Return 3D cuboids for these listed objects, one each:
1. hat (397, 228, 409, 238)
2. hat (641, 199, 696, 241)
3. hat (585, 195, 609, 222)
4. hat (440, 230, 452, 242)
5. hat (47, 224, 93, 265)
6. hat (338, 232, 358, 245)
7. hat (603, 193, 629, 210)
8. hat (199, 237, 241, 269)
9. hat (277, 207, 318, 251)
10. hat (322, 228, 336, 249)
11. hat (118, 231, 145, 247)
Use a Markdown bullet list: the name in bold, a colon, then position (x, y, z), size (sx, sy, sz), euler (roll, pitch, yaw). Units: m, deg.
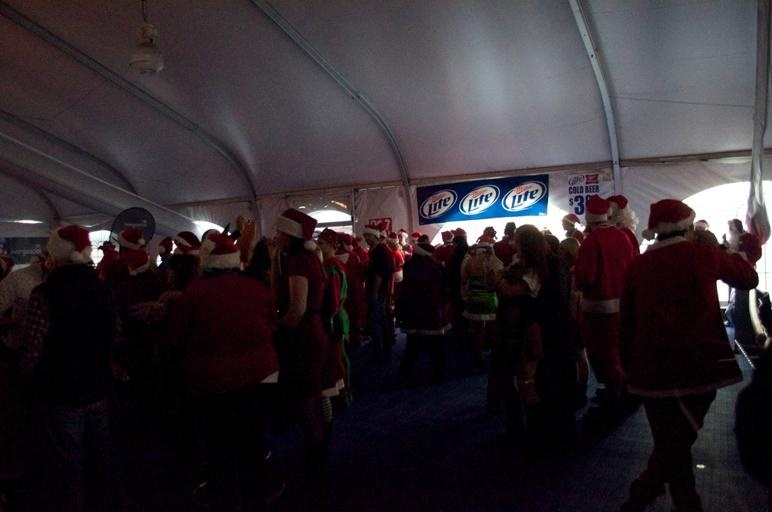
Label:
- **hat**: position (0.404, -0.551, 11.836), size (0.235, 0.234, 0.198), euler (-1, 3, -6)
- **hat**: position (2.466, -0.383, 4.405), size (0.387, 0.323, 0.311), euler (-20, 20, 15)
- **hat**: position (2.412, -0.539, 5.650), size (0.228, 0.174, 0.329), euler (2, 7, 14)
- **hat**: position (1.143, -0.376, 9.509), size (0.210, 0.194, 0.196), euler (-1, -5, -1)
- **hat**: position (-2.749, -0.094, 4.299), size (0.294, 0.330, 0.390), euler (-1, 3, -37)
- **hat**: position (-0.679, -0.308, 8.735), size (0.236, 0.094, 0.238), euler (6, -9, -6)
- **hat**: position (2.754, -0.647, 5.886), size (0.279, 0.146, 0.406), euler (6, 14, 36)
- **hat**: position (-1.384, -0.020, 4.216), size (0.311, 0.267, 0.231), euler (5, -8, -42)
- **hat**: position (-0.806, -0.247, 4.734), size (0.407, 0.347, 0.308), euler (20, -5, -10)
- **hat**: position (-0.672, -0.203, 5.895), size (0.218, 0.166, 0.162), euler (0, 11, -3)
- **hat**: position (-2.925, -0.203, 5.730), size (0.242, 0.161, 0.179), euler (17, 8, 20)
